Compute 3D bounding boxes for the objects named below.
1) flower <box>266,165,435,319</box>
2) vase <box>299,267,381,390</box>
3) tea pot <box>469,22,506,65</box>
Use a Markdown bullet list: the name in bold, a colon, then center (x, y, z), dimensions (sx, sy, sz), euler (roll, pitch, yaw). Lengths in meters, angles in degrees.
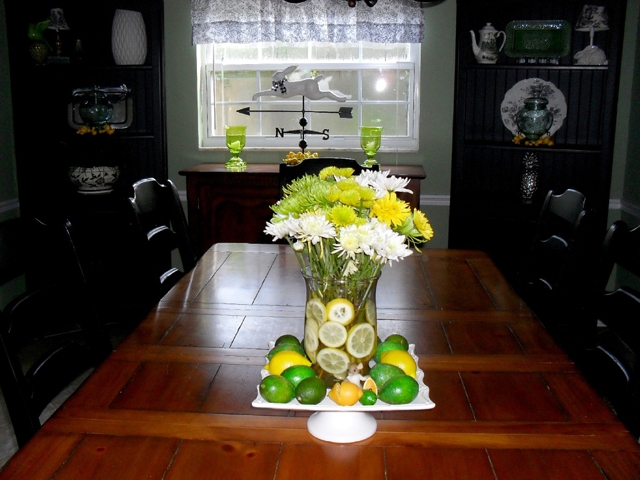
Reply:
- **flower**: center (0.069, -0.009, 1.116), dimensions (0.336, 0.365, 0.336), euler (-8, 13, -39)
- **vase**: center (0.042, 0.183, 1.020), dimensions (0.198, 0.326, 0.205), euler (1, 1, 5)
- **tea pot**: center (1.197, -1.410, 3.349), dimensions (0.234, 0.296, 0.377), euler (10, 20, 27)
